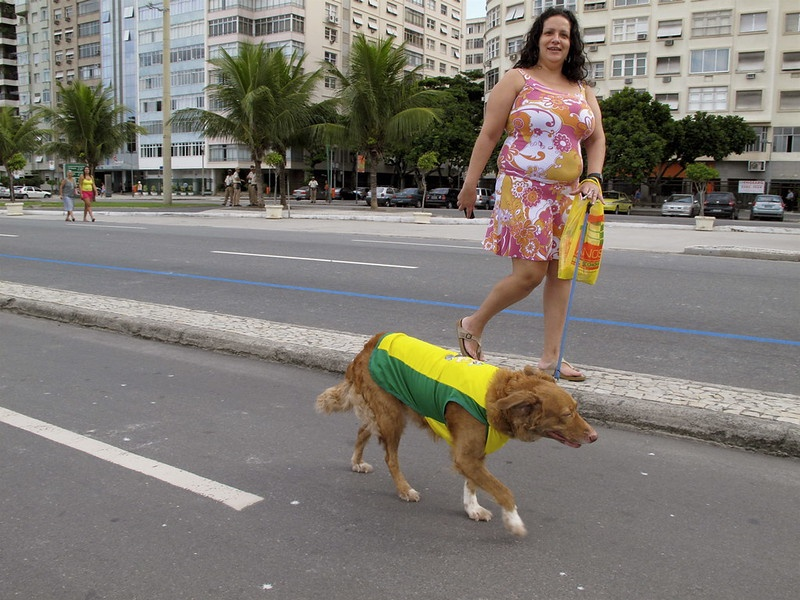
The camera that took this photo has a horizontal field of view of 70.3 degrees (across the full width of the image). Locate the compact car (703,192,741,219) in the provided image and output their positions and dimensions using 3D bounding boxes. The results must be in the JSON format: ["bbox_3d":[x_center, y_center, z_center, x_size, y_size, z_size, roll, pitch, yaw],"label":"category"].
[{"bbox_3d":[22.998,-6.916,40.852,2.054,1.748,2.085,7,13,29],"label":"compact car"}]

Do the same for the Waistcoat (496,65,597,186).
[{"bbox_3d":[1.084,-1.282,4.171,0.622,0.851,0.560,4,2,-31],"label":"Waistcoat"}]

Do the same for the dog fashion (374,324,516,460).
[{"bbox_3d":[0.185,0.356,2.934,0.717,0.377,0.443,27,27,31],"label":"dog fashion"}]

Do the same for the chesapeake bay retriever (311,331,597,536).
[{"bbox_3d":[0.208,0.662,2.920,1.422,0.855,0.496,10,9,31],"label":"chesapeake bay retriever"}]

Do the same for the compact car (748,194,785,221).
[{"bbox_3d":[25.233,-6.603,39.184,1.279,1.260,2.617,6,21,27],"label":"compact car"}]

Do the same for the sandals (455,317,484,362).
[{"bbox_3d":[0.514,0.316,4.311,0.153,0.432,0.119,-8,-11,-31],"label":"sandals"}]

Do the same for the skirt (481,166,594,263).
[{"bbox_3d":[1.003,-0.714,4.317,0.763,0.759,0.456,-6,19,-38],"label":"skirt"}]

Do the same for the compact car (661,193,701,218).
[{"bbox_3d":[19.725,-6.827,40.132,2.200,1.510,1.643,-6,13,-31],"label":"compact car"}]
